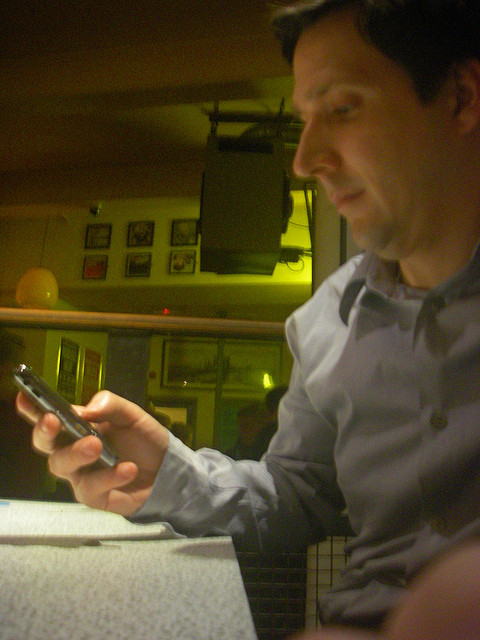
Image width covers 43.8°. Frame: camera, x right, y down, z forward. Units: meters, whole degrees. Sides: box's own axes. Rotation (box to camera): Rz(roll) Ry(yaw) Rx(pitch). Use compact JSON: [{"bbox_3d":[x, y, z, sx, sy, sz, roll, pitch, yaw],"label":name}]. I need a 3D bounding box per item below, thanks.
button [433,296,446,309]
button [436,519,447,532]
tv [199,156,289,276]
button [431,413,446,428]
[{"bbox_3d":[0.216,-0.020,0.646,0.012,0.012,0.004,-4,-5,16],"label":"button"},{"bbox_3d":[0.193,0.195,0.570,0.009,0.010,0.020,-4,-4,13],"label":"button"},{"bbox_3d":[0.019,-0.538,2.838,0.450,0.363,0.316,4,7,-10],"label":"tv"},{"bbox_3d":[0.199,0.100,0.598,0.003,0.012,0.012,14,-6,-32],"label":"button"}]
